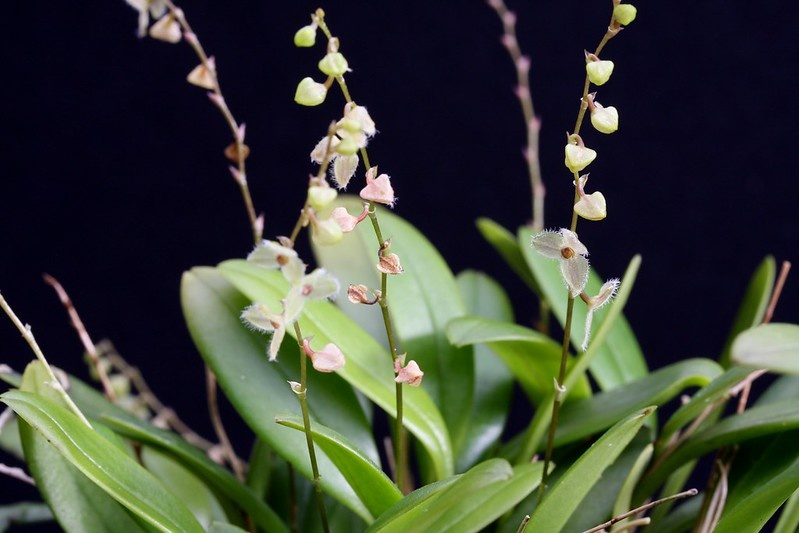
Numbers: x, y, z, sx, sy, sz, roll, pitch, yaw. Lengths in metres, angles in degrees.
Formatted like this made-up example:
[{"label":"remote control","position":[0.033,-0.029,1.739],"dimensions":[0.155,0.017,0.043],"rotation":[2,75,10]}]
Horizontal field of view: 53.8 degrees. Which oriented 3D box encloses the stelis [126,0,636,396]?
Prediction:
[{"label":"stelis","position":[-0.009,-0.152,1.654],"dimensions":[1.001,1.184,0.373],"rotation":[1,8,-1]}]
